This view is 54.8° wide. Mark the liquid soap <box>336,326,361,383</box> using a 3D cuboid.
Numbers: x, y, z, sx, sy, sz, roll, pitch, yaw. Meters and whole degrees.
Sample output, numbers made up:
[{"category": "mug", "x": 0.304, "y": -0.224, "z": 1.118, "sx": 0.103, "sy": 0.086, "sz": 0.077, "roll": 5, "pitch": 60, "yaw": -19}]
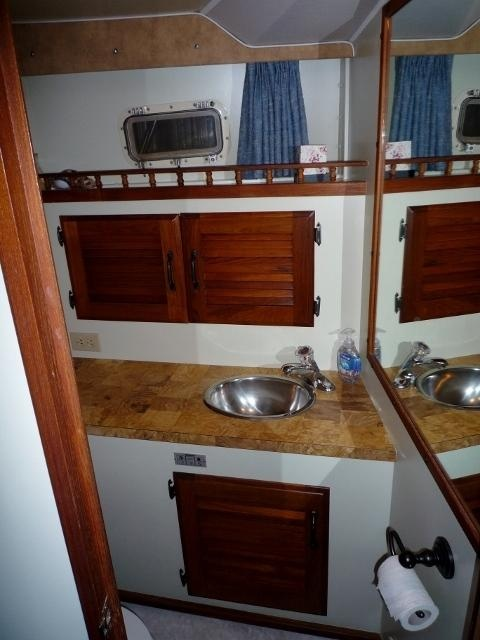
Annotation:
[{"category": "liquid soap", "x": 0.475, "y": 0.147, "z": 2.008, "sx": 0.109, "sy": 0.209, "sz": 0.151, "roll": -1, "pitch": 20, "yaw": 11}]

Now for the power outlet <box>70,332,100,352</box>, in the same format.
[{"category": "power outlet", "x": -0.779, "y": 0.104, "z": 2.335, "sx": 0.136, "sy": 0.099, "sz": 0.018, "roll": 5, "pitch": 27, "yaw": 10}]

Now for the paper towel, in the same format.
[{"category": "paper towel", "x": 0.420, "y": 0.670, "z": 1.183, "sx": 0.115, "sy": 0.160, "sz": 0.205, "roll": -1, "pitch": 20, "yaw": 9}]

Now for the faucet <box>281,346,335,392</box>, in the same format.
[{"category": "faucet", "x": 0.294, "y": 0.194, "z": 2.018, "sx": 0.127, "sy": 0.146, "sz": 0.260, "roll": -20, "pitch": 20, "yaw": -35}]

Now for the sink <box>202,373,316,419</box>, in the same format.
[{"category": "sink", "x": 0.082, "y": 0.368, "z": 1.932, "sx": 0.456, "sy": 0.150, "sz": 0.354, "roll": -1, "pitch": 20, "yaw": 9}]
